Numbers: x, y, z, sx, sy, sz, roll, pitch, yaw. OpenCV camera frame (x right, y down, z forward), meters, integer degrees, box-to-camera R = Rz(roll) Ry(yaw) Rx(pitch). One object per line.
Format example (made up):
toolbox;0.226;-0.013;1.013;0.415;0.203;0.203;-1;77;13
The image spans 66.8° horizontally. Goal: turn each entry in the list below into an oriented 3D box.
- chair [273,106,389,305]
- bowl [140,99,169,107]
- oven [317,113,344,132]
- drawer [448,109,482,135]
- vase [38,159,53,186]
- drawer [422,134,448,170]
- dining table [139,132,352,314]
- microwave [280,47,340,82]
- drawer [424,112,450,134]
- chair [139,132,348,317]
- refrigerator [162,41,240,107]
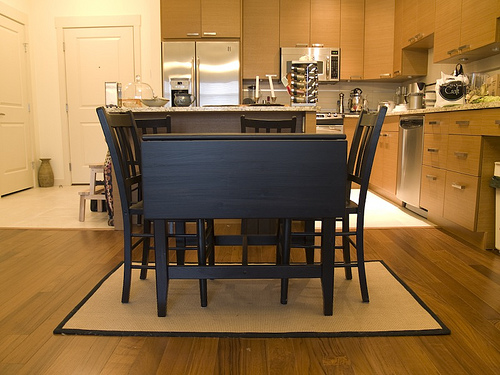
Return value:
chair;0.476;0.063;2.511;0.801;1.162;0.783;4;12;29
bowl;-0.926;-0.812;3.623;0.270;0.076;0.163;-2;12;-7
oven;1.139;-0.937;5.520;0.421;0.405;0.288;0;2;0
drawer;1.858;-0.573;3.357;0.305;0.187;0.180;-3;3;13
vase;-3.302;-0.238;6.083;0.222;0.457;0.130;-6;14;-23
drawer;1.835;-0.359;3.743;0.209;0.352;0.354;0;7;3
dining table;-0.099;0.061;2.427;1.177;1.056;0.852;-1;24;-25
microwave;0.976;-1.999;5.935;0.900;0.720;0.703;4;17;13
drawer;1.836;-0.633;3.722;0.183;0.237;0.347;1;10;6
chair;-0.035;0.157;2.375;1.081;1.009;0.799;-1;9;-4
refrigerator;-0.752;-1.677;5.657;1.080;1.077;0.423;-1;31;-3
